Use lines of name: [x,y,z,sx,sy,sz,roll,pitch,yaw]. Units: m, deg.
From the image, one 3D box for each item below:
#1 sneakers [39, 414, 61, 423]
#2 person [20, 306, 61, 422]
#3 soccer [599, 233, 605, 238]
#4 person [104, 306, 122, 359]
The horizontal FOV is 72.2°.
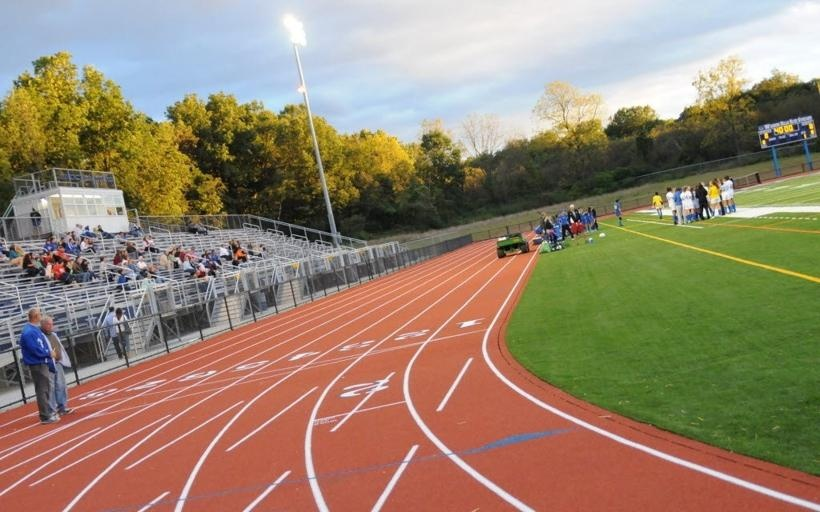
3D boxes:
sneakers: [-10.433,4.758,16.327,0.520,0.236,0.222,-3,6,-12]
person: [-10.497,3.170,16.003,0.680,3.369,0.874,-15,9,-34]
soccer: [11.403,-1.232,33.429,0.381,0.239,0.408,-5,6,20]
person: [-11.841,3.212,22.465,0.560,1.902,1.021,-14,8,-29]
